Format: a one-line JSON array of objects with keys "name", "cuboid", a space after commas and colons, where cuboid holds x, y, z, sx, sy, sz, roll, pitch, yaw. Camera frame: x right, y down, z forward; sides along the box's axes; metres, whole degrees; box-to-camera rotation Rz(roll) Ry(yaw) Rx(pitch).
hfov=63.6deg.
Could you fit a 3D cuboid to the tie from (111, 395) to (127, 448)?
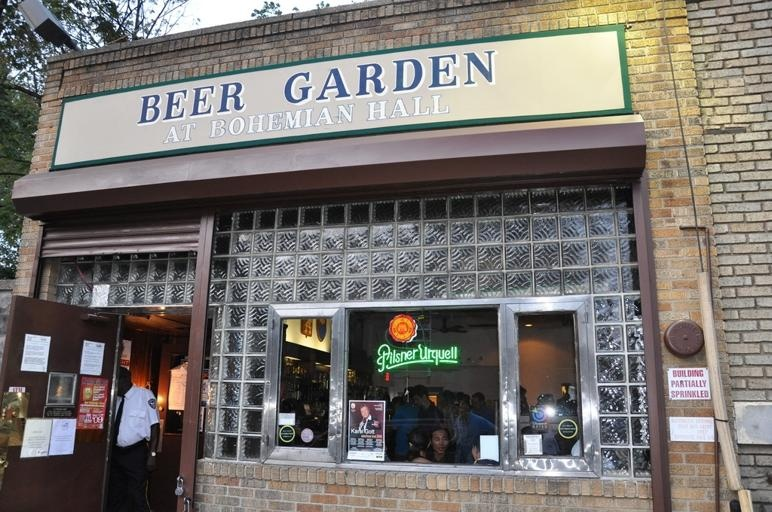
[{"name": "tie", "cuboid": [-3.942, 2.412, 9.155, 0.114, 0.722, 0.165, 5, -18, -21]}]
